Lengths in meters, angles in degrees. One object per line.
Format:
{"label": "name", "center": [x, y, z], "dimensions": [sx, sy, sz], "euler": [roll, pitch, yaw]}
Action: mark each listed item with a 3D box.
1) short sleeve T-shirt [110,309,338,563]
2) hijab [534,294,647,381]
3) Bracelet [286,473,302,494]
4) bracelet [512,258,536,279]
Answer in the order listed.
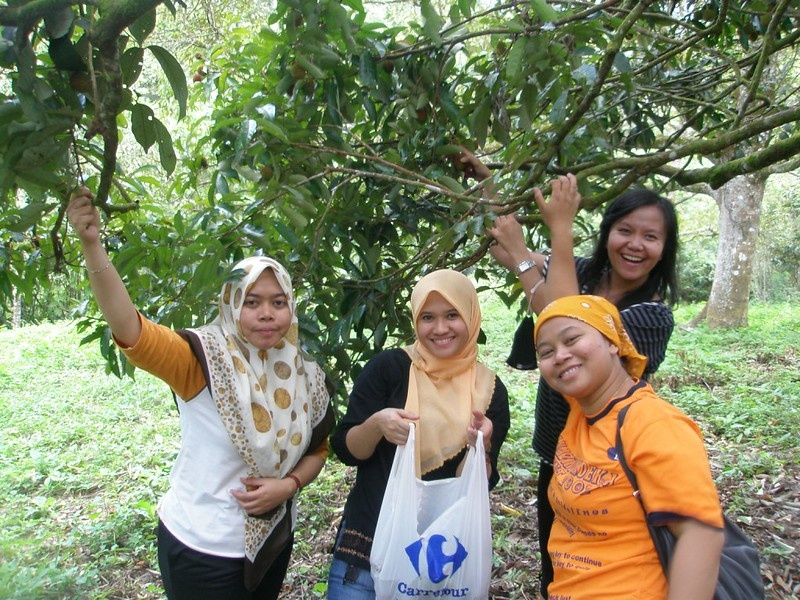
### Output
{"label": "short sleeve T-shirt", "center": [-0.781, 0.679, 2.945], "dimensions": [0.485, 1.340, 1.323], "euler": [-10, -19, 23]}
{"label": "hijab", "center": [0.693, 0.144, 2.356], "dimensions": [0.391, 0.313, 0.161], "euler": [-2, 12, 5]}
{"label": "Bracelet", "center": [-0.432, 0.757, 2.600], "dimensions": [0.018, 0.069, 0.067], "euler": [-14, 6, -38]}
{"label": "bracelet", "center": [0.538, -0.142, 2.737], "dimensions": [0.088, 0.051, 0.092], "euler": [-25, -18, 2]}
